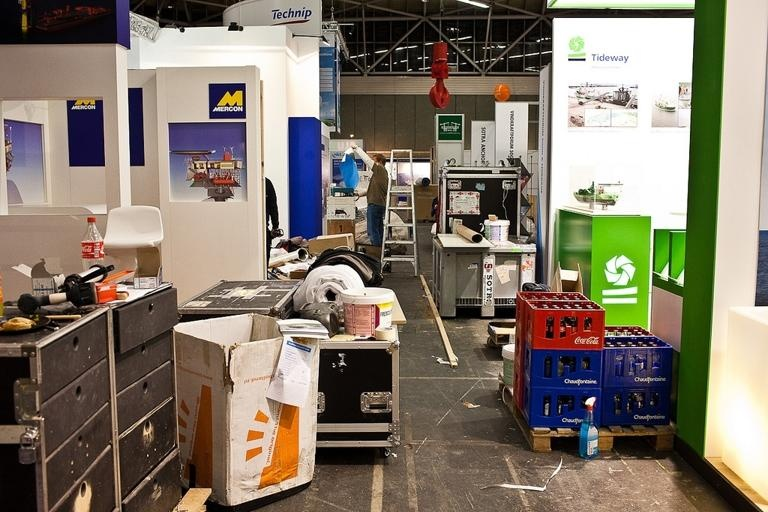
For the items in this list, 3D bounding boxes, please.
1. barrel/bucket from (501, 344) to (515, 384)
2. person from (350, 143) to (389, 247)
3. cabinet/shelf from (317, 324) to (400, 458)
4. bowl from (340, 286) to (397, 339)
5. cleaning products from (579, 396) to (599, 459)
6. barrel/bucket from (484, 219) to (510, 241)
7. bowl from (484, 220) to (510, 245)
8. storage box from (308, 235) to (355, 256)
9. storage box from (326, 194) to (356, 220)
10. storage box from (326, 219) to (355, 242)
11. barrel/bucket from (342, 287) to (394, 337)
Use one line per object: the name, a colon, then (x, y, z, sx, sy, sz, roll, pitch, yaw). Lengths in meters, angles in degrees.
barrel/bucket: (1.049, 0.939, 5.239, 0.090, 0.289, 0.258, 3, 14, 14)
person: (-0.204, -0.939, 10.369, 0.489, 1.693, 0.837, -1, 13, -1)
cabinet/shelf: (-0.189, 0.956, 4.303, 0.607, 0.697, 0.700, 3, 2, -6)
bowl: (-0.112, 0.397, 4.386, 0.345, 0.251, 0.341, -1, 1, 0)
cleaning products: (1.479, 1.205, 4.437, 0.143, 0.439, 0.230, 4, 14, 19)
barrel/bucket: (1.399, -0.313, 7.707, 0.278, 0.240, 0.277, 0, 5, 0)
bowl: (1.422, -0.288, 7.751, 0.301, 0.267, 0.296, 0, 7, 0)
storage box: (-0.832, -0.187, 9.266, 0.448, 0.178, 0.449, -1, 4, 10)
storage box: (-0.798, -0.861, 11.045, 0.431, 0.312, 0.434, 0, 8, 2)
storage box: (-0.808, -0.466, 11.144, 0.591, 0.325, 0.417, 1, -1, -4)
barrel/bucket: (-0.119, 0.395, 4.387, 0.338, 0.247, 0.333, 0, 2, 0)
